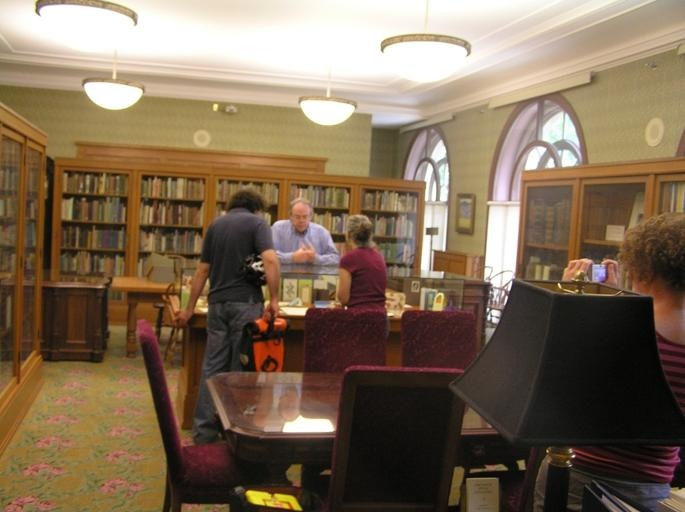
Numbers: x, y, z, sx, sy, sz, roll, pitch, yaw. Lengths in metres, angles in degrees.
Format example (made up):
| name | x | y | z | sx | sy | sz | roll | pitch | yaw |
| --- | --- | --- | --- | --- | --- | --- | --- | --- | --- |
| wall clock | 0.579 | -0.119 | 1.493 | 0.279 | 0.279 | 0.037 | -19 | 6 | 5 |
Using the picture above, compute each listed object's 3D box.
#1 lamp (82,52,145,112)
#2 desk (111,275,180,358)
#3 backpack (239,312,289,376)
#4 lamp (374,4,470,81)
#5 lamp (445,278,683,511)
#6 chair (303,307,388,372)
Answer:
| name | x | y | z | sx | sy | sz | roll | pitch | yaw |
| --- | --- | --- | --- | --- | --- | --- | --- | --- | --- |
| lamp | -2.691 | -1.921 | 6.596 | 0.561 | 0.280 | 0.499 | 7 | 8 | 33 |
| desk | -2.219 | 0.685 | 6.448 | 0.891 | 0.867 | 0.895 | 0 | 3 | -14 |
| backpack | -0.542 | 0.594 | 3.783 | 0.416 | 0.501 | 0.187 | 2 | -3 | -17 |
| lamp | 0.790 | -1.794 | 5.234 | 0.731 | 0.980 | 0.774 | 2 | 2 | 11 |
| lamp | 0.629 | 0.301 | 1.550 | 0.626 | 0.412 | 0.257 | 4 | 8 | 10 |
| chair | 0.018 | 0.558 | 3.719 | 0.528 | 0.518 | 0.393 | 1 | -5 | -8 |
